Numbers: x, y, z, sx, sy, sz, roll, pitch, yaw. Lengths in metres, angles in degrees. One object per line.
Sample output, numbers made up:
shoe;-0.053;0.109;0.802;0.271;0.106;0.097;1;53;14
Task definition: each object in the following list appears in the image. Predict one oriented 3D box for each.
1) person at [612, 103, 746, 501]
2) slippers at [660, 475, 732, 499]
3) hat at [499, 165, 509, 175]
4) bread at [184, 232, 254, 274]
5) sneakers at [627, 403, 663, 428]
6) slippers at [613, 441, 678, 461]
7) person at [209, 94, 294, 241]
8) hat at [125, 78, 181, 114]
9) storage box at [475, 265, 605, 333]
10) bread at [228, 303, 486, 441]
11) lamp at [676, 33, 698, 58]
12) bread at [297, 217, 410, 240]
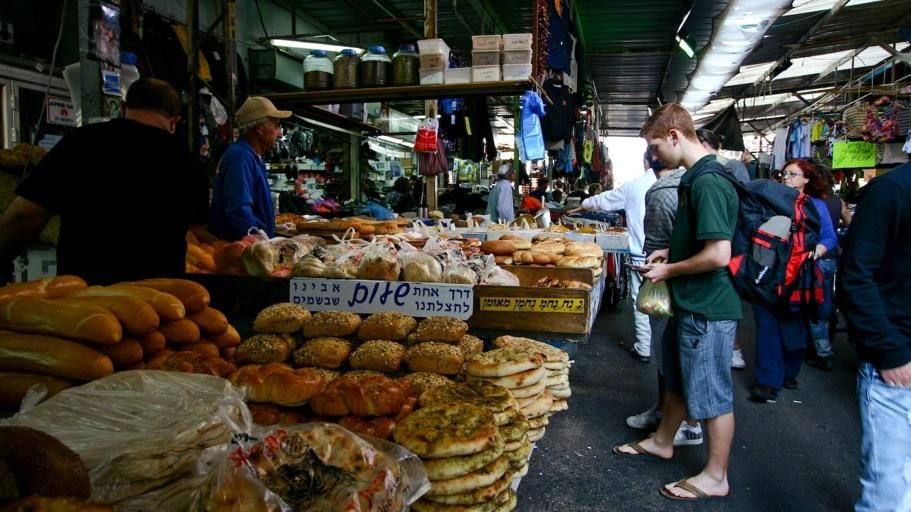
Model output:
person;2.140;0.387;5.479;0.790;3.571;0.850;-6;10;-25
slippers;2.184;2.132;5.463;0.515;0.105;0.230;3;-10;-1
hat;0.857;-1.541;10.523;0.208;0.171;0.171;0;9;5
bread;-2.159;-0.036;5.452;0.517;0.149;0.489;-5;-9;17
sneakers;2.022;1.739;6.442;0.485;0.176;0.165;1;-3;8
slippers;1.881;1.936;5.883;0.564;0.114;0.207;4;-5;7
person;-2.144;-0.940;6.196;0.647;1.485;0.786;4;10;29
hat;-2.652;-1.411;5.342;0.431;0.367;0.321;10;7;-44
storage box;0.665;0.403;4.937;0.763;0.217;0.784;2;8;17
bread;-0.743;0.820;4.266;1.352;0.342;0.931;1;8;-7
lamp;4.539;-4.280;11.857;0.523;0.448;0.115;22;-25;-27
bread;-1.037;-0.319;6.523;1.140;0.179;0.834;-7;10;-36
